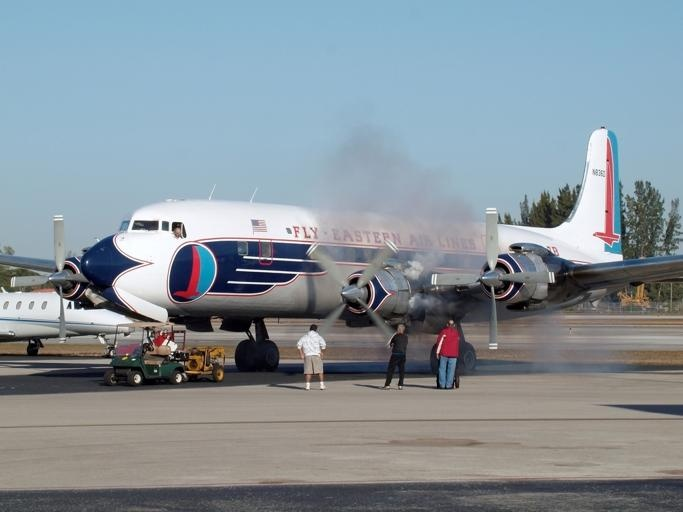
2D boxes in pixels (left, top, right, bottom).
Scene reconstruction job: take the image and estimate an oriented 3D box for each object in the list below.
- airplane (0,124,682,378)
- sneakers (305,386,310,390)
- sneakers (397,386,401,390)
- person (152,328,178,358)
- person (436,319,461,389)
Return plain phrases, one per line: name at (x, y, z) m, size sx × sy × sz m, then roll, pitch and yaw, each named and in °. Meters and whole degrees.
airplane at (-0.207, -0.569, 34.084) m, size 23.368 × 9.028 × 17.899 m, roll 1°, pitch -2°, yaw -13°
sneakers at (-0.896, 3.437, 24.575) m, size 0.177 × 0.068 × 0.220 m, roll 0°, pitch 0°, yaw 2°
sneakers at (1.516, 3.479, 24.956) m, size 0.125 × 0.112 × 0.065 m, roll 1°, pitch 2°, yaw 13°
person at (-4.974, 2.478, 26.737) m, size 0.777 × 0.676 × 0.591 m, roll -1°, pitch -4°, yaw 3°
person at (2.764, 2.717, 25.042) m, size 0.518 × 1.600 × 0.672 m, roll 1°, pitch -2°, yaw 5°
